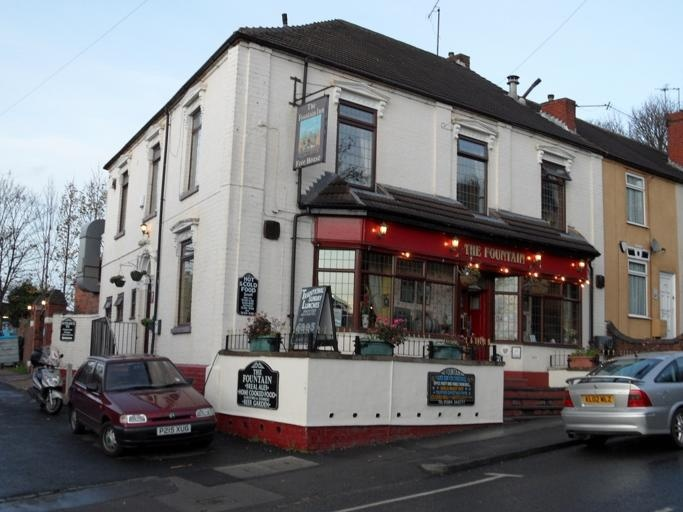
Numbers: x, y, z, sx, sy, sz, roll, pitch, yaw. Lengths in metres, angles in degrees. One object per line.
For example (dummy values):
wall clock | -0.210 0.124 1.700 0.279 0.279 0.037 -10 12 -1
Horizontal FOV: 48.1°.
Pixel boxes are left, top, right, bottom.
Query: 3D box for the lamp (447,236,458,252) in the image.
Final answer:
lamp | 3.623 -0.389 24.634 0.550 0.454 0.180 -9 10 -44

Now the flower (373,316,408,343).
flower | 1.265 1.951 20.066 0.615 0.496 0.678 2 2 -17

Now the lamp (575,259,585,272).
lamp | 8.706 0.348 27.962 0.442 0.425 0.113 -5 8 -21

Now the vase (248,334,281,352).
vase | -2.039 2.270 20.017 0.531 0.368 0.561 -1 -4 18

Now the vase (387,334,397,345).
vase | 1.297 2.155 19.905 0.216 0.237 0.103 1 2 -21

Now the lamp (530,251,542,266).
lamp | 6.824 0.104 26.639 0.525 0.513 0.212 -9 10 -44

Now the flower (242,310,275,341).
flower | -2.222 1.845 20.495 0.722 0.672 0.711 2 -6 -10

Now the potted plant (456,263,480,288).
potted plant | 4.117 0.642 24.786 0.681 0.583 0.758 -3 -11 27

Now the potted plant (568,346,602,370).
potted plant | 8.232 3.480 26.133 0.769 0.526 0.802 1 -7 -11

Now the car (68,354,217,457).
car | -5.115 3.687 19.095 2.296 2.009 3.902 -9 10 -44

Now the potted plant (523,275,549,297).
potted plant | 6.728 1.047 26.745 0.661 0.489 0.715 -2 -9 39
